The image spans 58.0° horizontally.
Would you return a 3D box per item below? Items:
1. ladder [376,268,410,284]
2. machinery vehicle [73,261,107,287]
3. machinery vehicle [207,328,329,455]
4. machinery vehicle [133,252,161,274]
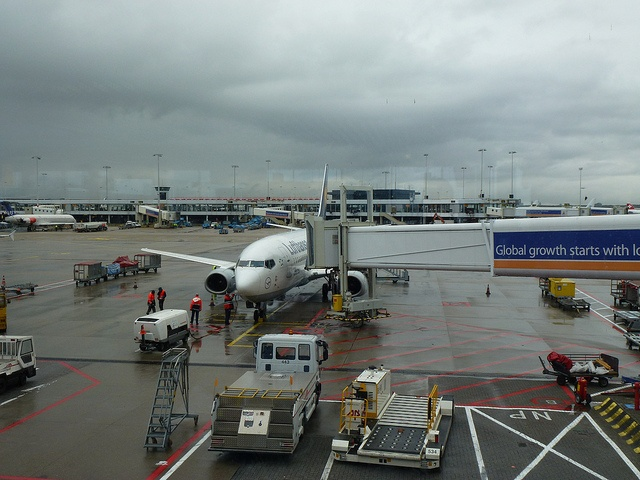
[{"bbox_3d":[7.779,3.987,60.846,4.055,1.600,2.253,-1,4,9],"label":"ladder"},{"bbox_3d":[-22.976,3.397,57.401,2.180,2.297,3.599,-2,9,-7],"label":"machinery vehicle"},{"bbox_3d":[-1.943,6.360,25.260,3.363,2.533,6.014,2,10,10],"label":"machinery vehicle"},{"bbox_3d":[-20.451,2.678,67.613,2.210,1.974,3.709,-3,1,-43],"label":"machinery vehicle"}]
